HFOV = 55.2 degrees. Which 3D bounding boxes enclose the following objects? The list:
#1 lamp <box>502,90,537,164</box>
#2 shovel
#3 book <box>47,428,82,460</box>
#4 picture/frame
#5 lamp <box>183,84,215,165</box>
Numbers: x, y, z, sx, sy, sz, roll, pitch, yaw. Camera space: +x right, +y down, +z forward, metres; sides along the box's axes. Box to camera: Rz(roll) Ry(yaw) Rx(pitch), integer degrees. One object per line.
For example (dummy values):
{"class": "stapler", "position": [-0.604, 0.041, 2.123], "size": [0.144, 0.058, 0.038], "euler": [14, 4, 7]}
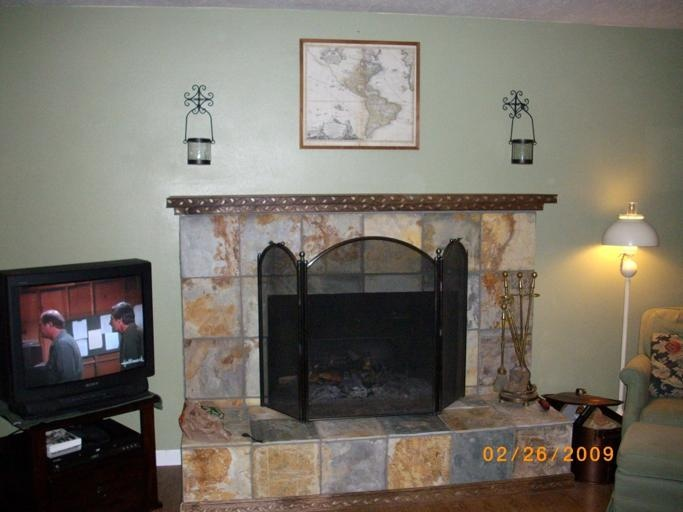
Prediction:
{"class": "lamp", "position": [1.254, -0.910, 4.602], "size": [0.254, 0.525, 0.171], "euler": [0, 4, 5]}
{"class": "shovel", "position": [1.253, 0.535, 4.640], "size": [0.236, 0.859, 0.373], "euler": [1, 4, 17]}
{"class": "book", "position": [-1.660, 1.117, 3.900], "size": [0.196, 0.119, 0.216], "euler": [-2, 3, -26]}
{"class": "picture/frame", "position": [0.084, -1.141, 4.492], "size": [0.763, 0.647, 0.032], "euler": [0, 5, -6]}
{"class": "lamp", "position": [-0.948, -0.880, 4.347], "size": [0.213, 0.542, 0.155], "euler": [-2, 4, -14]}
